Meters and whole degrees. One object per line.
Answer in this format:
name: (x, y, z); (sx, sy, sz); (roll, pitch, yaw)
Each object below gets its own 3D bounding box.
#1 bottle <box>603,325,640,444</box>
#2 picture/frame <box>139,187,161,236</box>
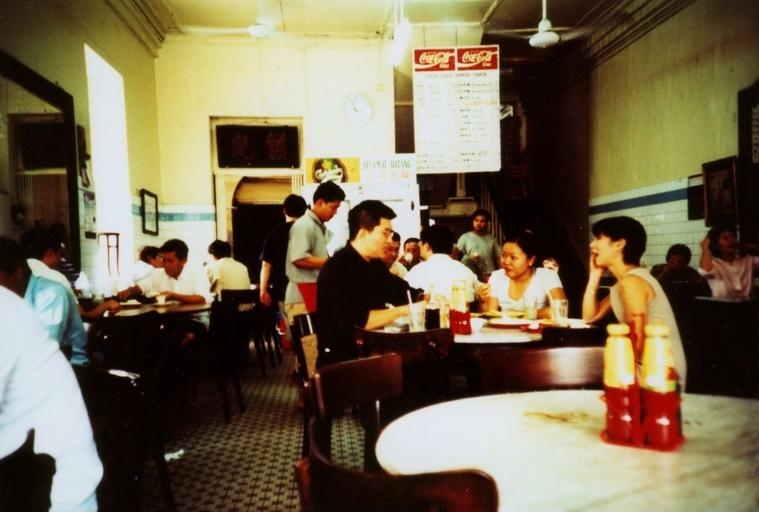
bottle: (1.297, 0.684, 3.320); (0.192, 0.649, 0.104); (-1, 3, 20)
picture/frame: (-3.173, -0.590, 8.708); (0.061, 0.643, 0.719); (-4, 10, -35)
